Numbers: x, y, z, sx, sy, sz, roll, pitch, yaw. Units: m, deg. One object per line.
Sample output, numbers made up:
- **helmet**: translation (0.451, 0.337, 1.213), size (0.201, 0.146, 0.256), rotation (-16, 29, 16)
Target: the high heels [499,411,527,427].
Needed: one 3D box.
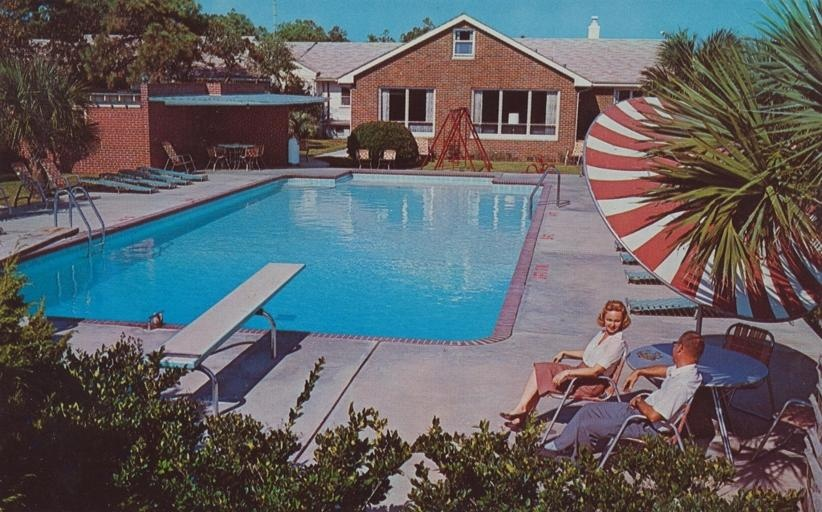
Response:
- **high heels**: translation (1.233, 2.060, 9.029), size (0.466, 0.189, 0.149), rotation (-4, 15, 12)

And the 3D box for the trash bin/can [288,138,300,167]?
- **trash bin/can**: translation (-5.610, -4.993, 33.894), size (0.534, 1.217, 0.796), rotation (-3, 15, -10)

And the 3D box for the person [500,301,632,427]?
- **person**: translation (1.942, 1.417, 9.055), size (1.569, 1.787, 0.844), rotation (4, 10, -4)
